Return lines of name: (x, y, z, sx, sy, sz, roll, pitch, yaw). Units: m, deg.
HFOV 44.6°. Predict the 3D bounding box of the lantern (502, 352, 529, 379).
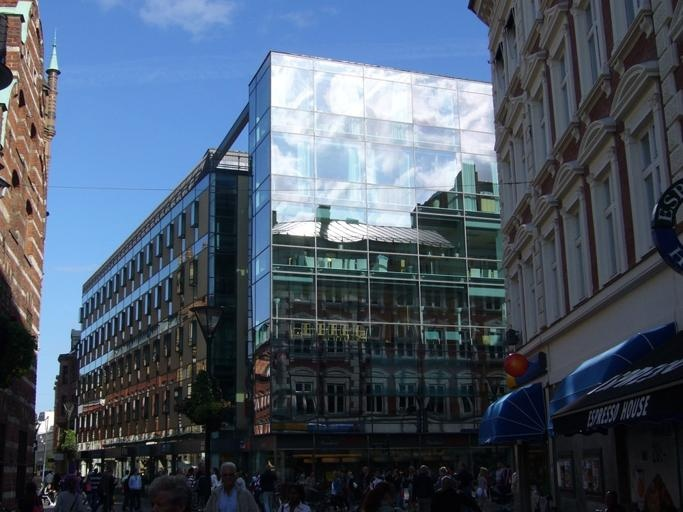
lantern: (4.909, 3.019, 23.404, 0.544, 0.671, 0.649, -4, -21, -2)
